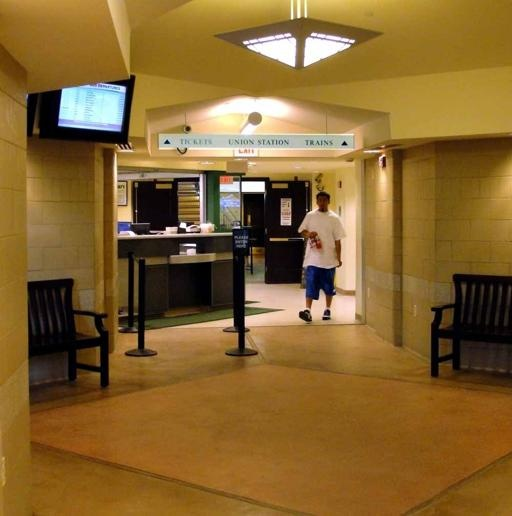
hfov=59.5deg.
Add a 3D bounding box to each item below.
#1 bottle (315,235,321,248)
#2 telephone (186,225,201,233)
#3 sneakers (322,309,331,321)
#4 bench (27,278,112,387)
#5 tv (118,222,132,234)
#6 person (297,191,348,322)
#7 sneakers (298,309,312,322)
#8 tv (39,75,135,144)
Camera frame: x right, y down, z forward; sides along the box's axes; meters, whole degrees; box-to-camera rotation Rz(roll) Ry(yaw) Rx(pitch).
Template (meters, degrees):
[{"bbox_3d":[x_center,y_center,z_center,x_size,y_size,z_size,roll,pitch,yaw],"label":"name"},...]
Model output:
[{"bbox_3d":[1.059,-0.253,7.582,0.096,0.196,0.072,-1,2,-29],"label":"bottle"},{"bbox_3d":[-1.310,-0.605,9.412,0.235,0.167,0.257,0,2,-3],"label":"telephone"},{"bbox_3d":[1.216,0.973,7.741,0.078,0.165,0.251,2,8,3],"label":"sneakers"},{"bbox_3d":[-1.864,0.740,4.459,0.708,1.037,0.652,-1,2,-29],"label":"bench"},{"bbox_3d":[-2.763,-0.657,9.435,0.242,0.298,2.751,0,2,-16],"label":"tv"},{"bbox_3d":[1.120,-0.030,7.619,0.746,2.187,0.578,0,1,5],"label":"person"},{"bbox_3d":[0.836,0.957,7.519,0.209,0.218,0.277,1,2,9],"label":"sneakers"},{"bbox_3d":[-1.383,-1.216,3.656,0.604,0.587,0.308,-6,17,-40],"label":"tv"}]
